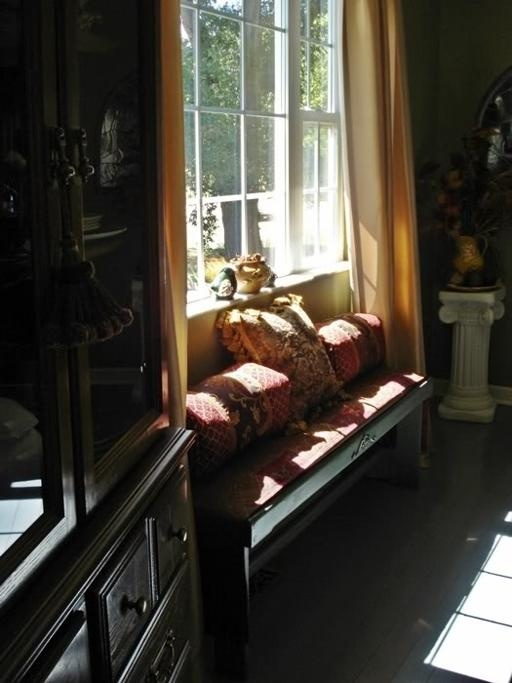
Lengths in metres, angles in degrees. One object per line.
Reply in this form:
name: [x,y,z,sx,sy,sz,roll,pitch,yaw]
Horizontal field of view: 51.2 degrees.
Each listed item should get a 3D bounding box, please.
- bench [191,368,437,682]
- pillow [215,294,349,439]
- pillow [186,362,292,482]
bench: [0.380,0.591,2.394,0.371,0.636,1.908,6,14,34]
pillow: [0.136,0.025,2.322,0.142,0.524,0.486,-32,-14,32]
pillow: [-0.074,0.254,1.859,0.238,0.214,0.504,19,31,24]
